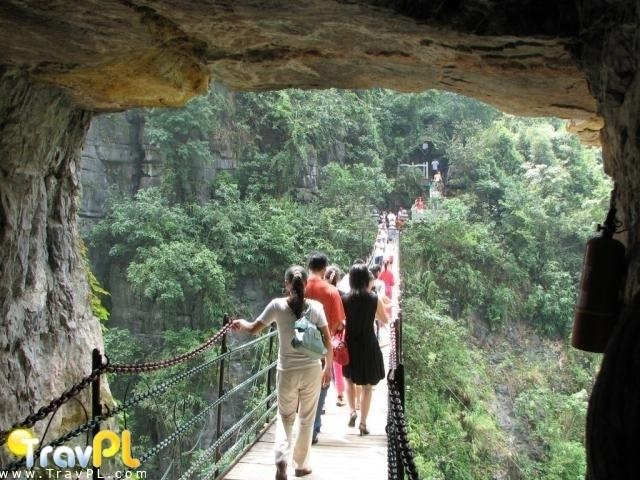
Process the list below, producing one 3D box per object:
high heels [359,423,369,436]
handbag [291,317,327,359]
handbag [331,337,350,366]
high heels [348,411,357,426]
[{"bbox_3d":[0.412,1.788,5.183,0.045,0.079,0.148,1,4,15],"label":"high heels"},{"bbox_3d":[-0.103,0.760,4.232,0.113,0.224,0.215,-20,-42,30],"label":"handbag"},{"bbox_3d":[0.191,1.025,5.000,0.147,0.297,0.126,4,2,3],"label":"handbag"},{"bbox_3d":[0.317,1.737,5.362,0.067,0.182,0.071,6,11,-7],"label":"high heels"}]
